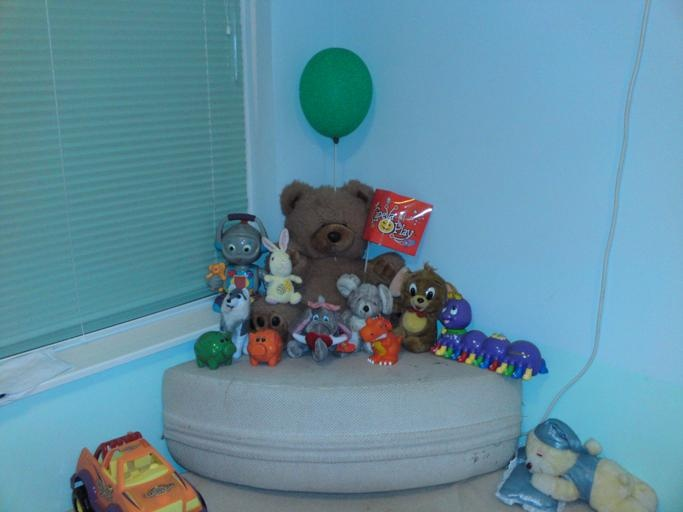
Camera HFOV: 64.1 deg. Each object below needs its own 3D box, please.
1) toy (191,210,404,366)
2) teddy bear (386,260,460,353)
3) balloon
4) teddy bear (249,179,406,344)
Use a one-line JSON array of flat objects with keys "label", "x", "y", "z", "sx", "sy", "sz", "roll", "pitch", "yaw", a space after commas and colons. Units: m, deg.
[{"label": "toy", "x": -0.277, "y": 0.143, "z": 2.867, "sx": 0.694, "sy": 0.943, "sz": 0.641, "roll": -1, "pitch": 3, "yaw": -23}, {"label": "teddy bear", "x": 0.408, "y": 0.267, "z": 2.714, "sx": 0.396, "sy": 0.485, "sz": 0.277, "roll": 5, "pitch": 4, "yaw": 31}, {"label": "balloon", "x": -0.028, "y": -0.786, "z": 2.707, "sx": 0.366, "sy": 0.448, "sz": 0.150, "roll": 5, "pitch": 18, "yaw": -6}, {"label": "teddy bear", "x": -0.057, "y": 0.018, "z": 2.863, "sx": 0.741, "sy": 0.840, "sz": 0.577, "roll": 2, "pitch": 3, "yaw": -2}]
